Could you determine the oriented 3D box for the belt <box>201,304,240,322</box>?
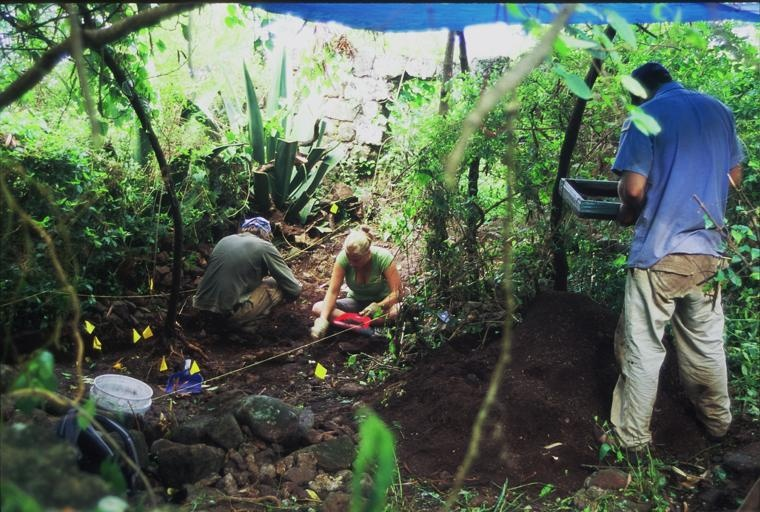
[{"bbox_3d":[-1.533,0.513,6.048,0.407,0.165,0.219,7,6,34],"label":"belt"}]

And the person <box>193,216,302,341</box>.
[{"bbox_3d":[-1.244,0.132,6.309,0.951,1.034,0.751,13,2,20],"label":"person"}]

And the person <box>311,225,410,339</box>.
[{"bbox_3d":[-0.185,0.248,5.954,0.684,1.045,1.201,0,6,-32],"label":"person"}]

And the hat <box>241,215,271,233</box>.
[{"bbox_3d":[-1.238,-0.314,6.387,0.215,0.091,0.224,7,7,41],"label":"hat"}]

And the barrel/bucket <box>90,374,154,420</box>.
[{"bbox_3d":[-1.764,0.972,4.471,0.394,0.206,0.627,2,5,-19],"label":"barrel/bucket"}]

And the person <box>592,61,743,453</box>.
[{"bbox_3d":[1.969,-0.003,4.369,0.907,2.573,0.533,5,6,15],"label":"person"}]
